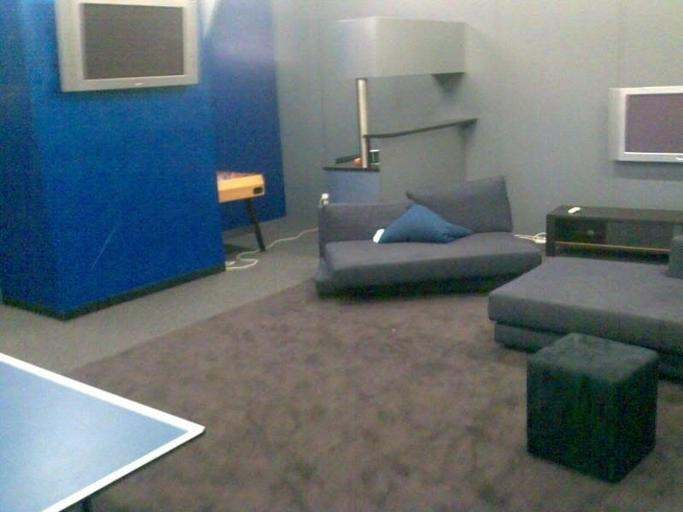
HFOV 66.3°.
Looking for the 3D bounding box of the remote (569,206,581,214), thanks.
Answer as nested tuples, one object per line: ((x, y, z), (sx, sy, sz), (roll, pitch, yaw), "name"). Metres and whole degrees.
((1.876, -0.375, 4.205), (0.104, 0.045, 0.035), (-27, 34, -37), "remote")

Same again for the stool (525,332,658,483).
((0.929, 0.542, 1.940), (0.436, 0.367, 0.386), (10, 22, 33), "stool")
